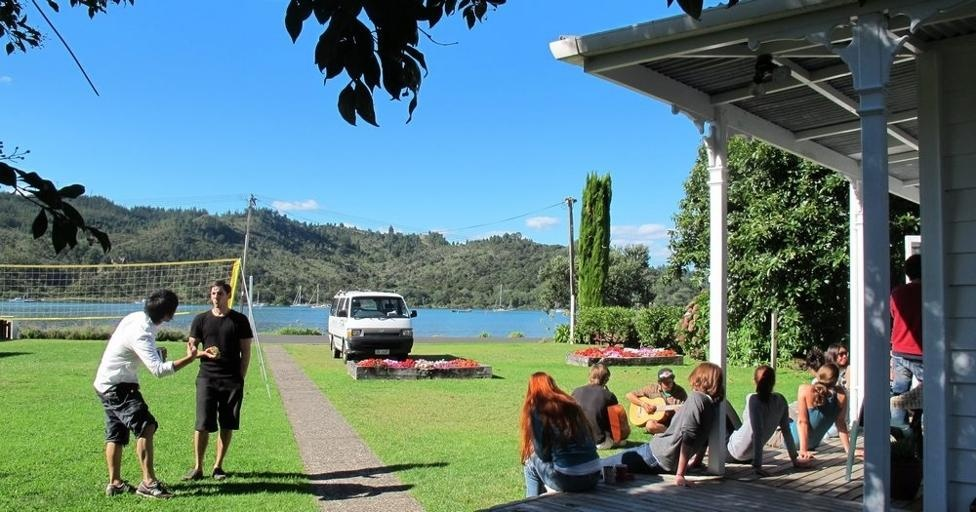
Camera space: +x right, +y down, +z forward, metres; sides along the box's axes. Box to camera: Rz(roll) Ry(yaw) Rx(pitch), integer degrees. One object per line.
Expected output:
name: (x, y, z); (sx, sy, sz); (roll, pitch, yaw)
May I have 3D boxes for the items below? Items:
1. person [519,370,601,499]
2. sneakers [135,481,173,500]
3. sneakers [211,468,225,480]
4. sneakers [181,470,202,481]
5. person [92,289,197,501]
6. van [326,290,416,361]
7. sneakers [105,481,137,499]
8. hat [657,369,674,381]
person: (1.047, 2.692, 10.674); (1.175, 1.867, 0.503); (2, -7, 3)
sneakers: (-5.272, 3.693, 11.298); (0.620, 0.248, 0.239); (4, -2, -2)
sneakers: (-4.505, 3.648, 11.925); (0.128, 0.109, 0.250); (4, -2, -34)
sneakers: (-4.957, 3.646, 11.859); (0.280, 0.110, 0.149); (3, -6, -8)
person: (-5.562, 2.147, 11.352); (1.317, 3.279, 0.904); (-3, -8, 35)
van: (-4.413, 2.508, 25.765); (2.037, 1.616, 3.425); (1, -6, -18)
sneakers: (-5.757, 3.691, 11.323); (0.570, 0.244, 0.199); (3, 3, -20)
hat: (3.429, 2.307, 13.757); (0.303, 0.166, 0.217); (-9, 7, -5)
